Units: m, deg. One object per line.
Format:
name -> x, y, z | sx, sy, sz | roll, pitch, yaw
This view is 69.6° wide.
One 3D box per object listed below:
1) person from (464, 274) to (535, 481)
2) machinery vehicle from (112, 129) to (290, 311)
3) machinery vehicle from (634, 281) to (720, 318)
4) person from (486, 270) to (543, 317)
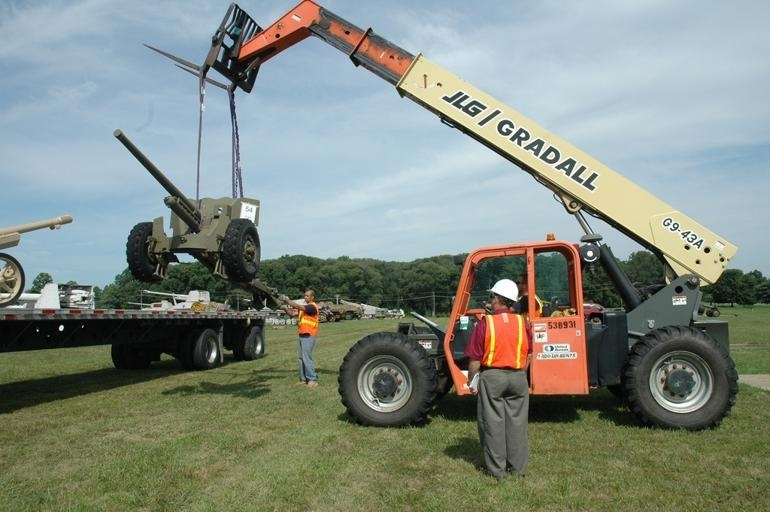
person -> 1.671, 1.844, 8.097 | 0.820, 2.608, 0.467 | -1, 2, 5
machinery vehicle -> -3.534, -0.300, 12.195 | 2.431, 2.367, 5.969 | 1, -4, 15
machinery vehicle -> 5.741, 0.745, 10.703 | 1.160, 0.852, 0.444 | 18, 42, 33
person -> 2.358, 0.690, 9.726 | 0.700, 0.549, 0.977 | 5, 10, -34
